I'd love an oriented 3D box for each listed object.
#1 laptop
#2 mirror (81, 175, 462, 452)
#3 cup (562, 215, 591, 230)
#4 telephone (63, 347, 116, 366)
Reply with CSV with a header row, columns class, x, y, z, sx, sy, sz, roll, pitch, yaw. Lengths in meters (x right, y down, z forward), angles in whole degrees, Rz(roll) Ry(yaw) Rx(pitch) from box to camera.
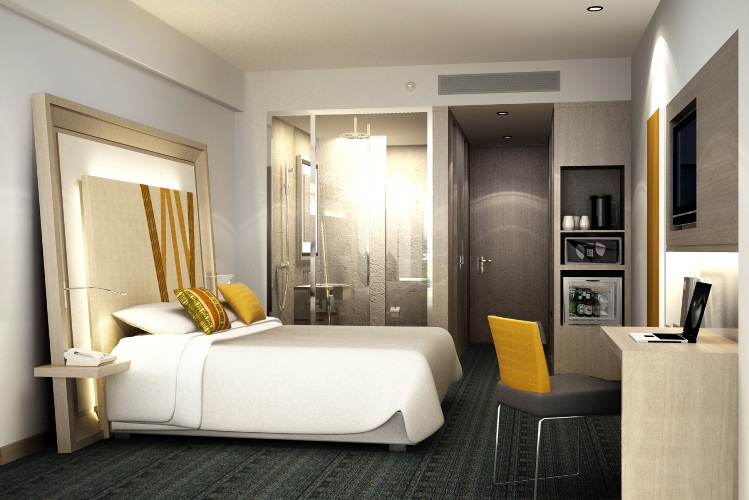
class,x,y,z,sx,sy,sz,roll,pitch,yaw
laptop,1.936,0.368,3.275,0.335,0.392,0.449,12,2,0
mirror,-0.805,0.418,5.142,2.964,2.091,2.395,1,0,11
cup,2.390,-0.326,6.038,0.300,0.166,0.173,-1,2,14
telephone,-2.224,0.828,3.937,0.182,0.080,0.223,0,-2,12
